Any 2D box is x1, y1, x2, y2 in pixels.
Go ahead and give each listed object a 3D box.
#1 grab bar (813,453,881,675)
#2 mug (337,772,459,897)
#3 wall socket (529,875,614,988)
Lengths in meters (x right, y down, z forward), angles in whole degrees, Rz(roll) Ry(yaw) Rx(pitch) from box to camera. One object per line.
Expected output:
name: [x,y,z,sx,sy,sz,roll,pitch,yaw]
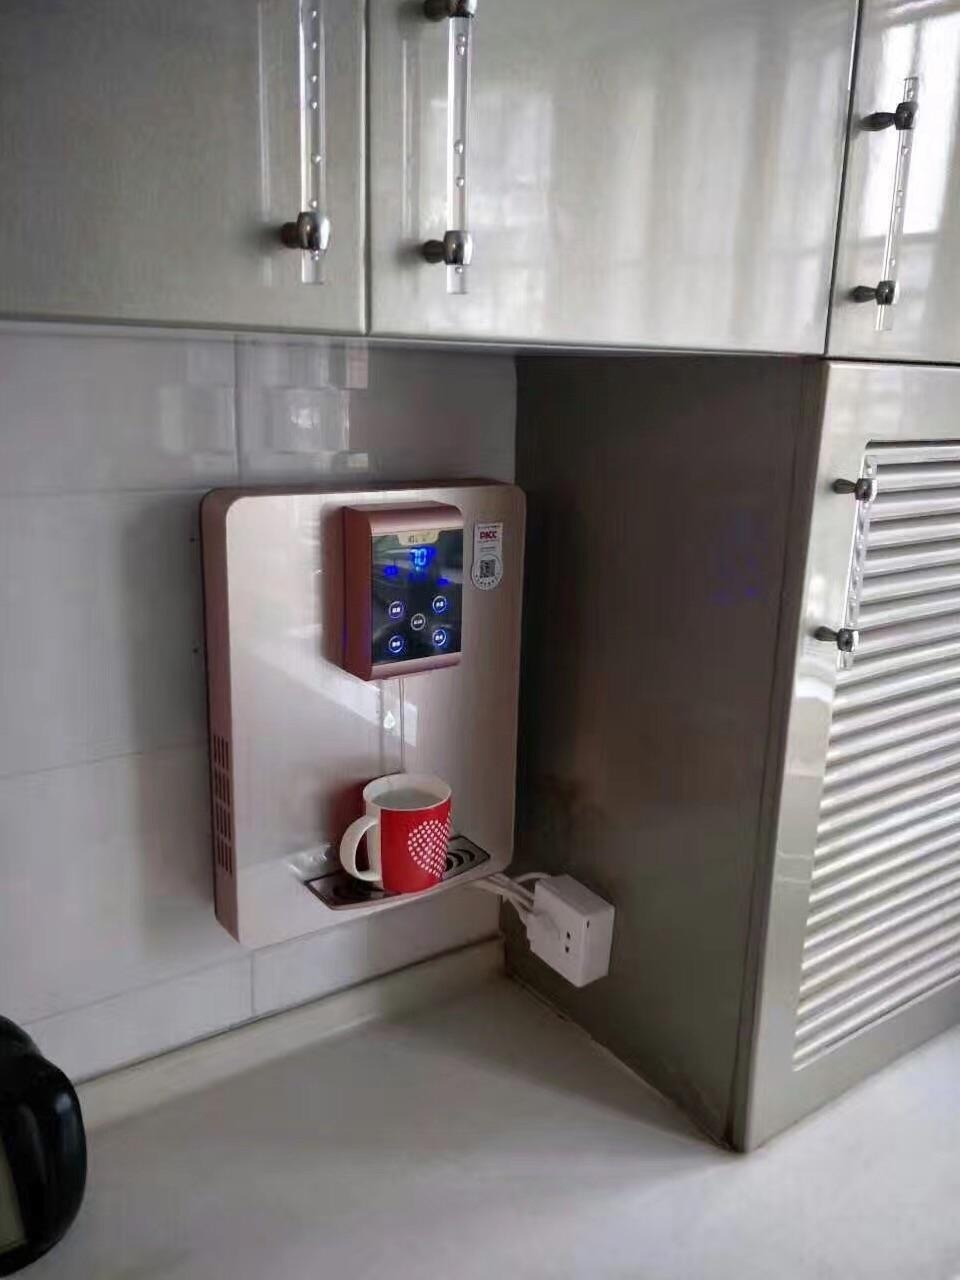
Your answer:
grab bar: [0.285,-0.059,0.793,0.040,0.163,0.027,11,14,35]
mug: [-0.080,0.167,0.912,0.069,0.087,0.111,10,22,29]
wall socket: [0.086,0.285,1.000,0.043,0.080,0.079,-11,20,-38]
